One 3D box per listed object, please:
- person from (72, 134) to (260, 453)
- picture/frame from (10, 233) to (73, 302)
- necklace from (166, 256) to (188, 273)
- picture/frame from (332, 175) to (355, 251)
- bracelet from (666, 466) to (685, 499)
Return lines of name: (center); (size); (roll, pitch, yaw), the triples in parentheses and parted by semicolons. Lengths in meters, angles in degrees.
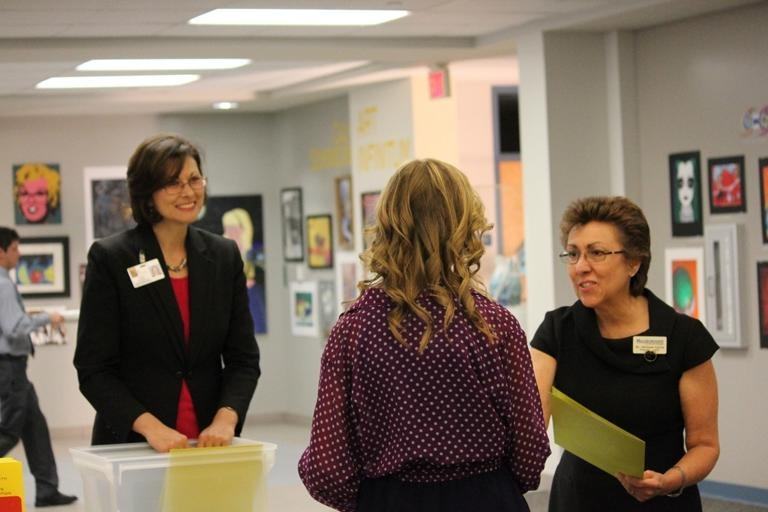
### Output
person: (-1.133, 0.181, 3.918); (0.933, 1.612, 0.478); (-6, 5, -26)
picture/frame: (-3.494, 0.120, 7.640); (0.635, 0.680, 0.052); (0, 4, -10)
necklace: (-1.110, 0.064, 4.059); (0.078, 0.020, 0.082); (-7, 31, 2)
picture/frame: (-0.554, -0.589, 10.262); (0.191, 0.867, 0.427); (-2, 2, -41)
bracelet: (1.500, 1.164, 3.856); (0.053, 0.153, 0.129); (-3, -2, 6)
